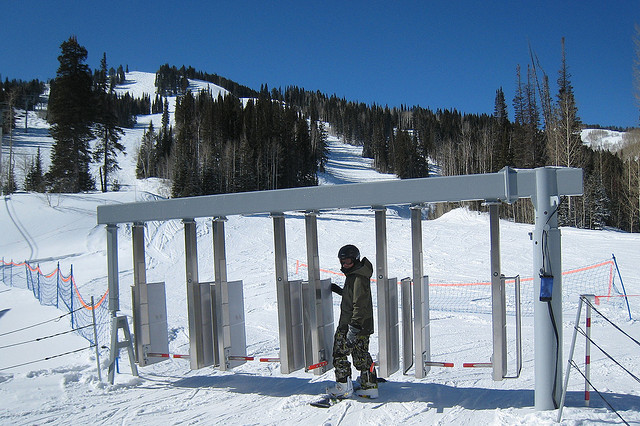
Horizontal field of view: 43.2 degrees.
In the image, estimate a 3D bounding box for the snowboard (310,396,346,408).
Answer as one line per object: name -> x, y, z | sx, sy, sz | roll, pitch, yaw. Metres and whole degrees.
snowboard -> 0.448, 10.447, 44.746 | 1.679, 0.490, 0.212 | -2, 4, 1
